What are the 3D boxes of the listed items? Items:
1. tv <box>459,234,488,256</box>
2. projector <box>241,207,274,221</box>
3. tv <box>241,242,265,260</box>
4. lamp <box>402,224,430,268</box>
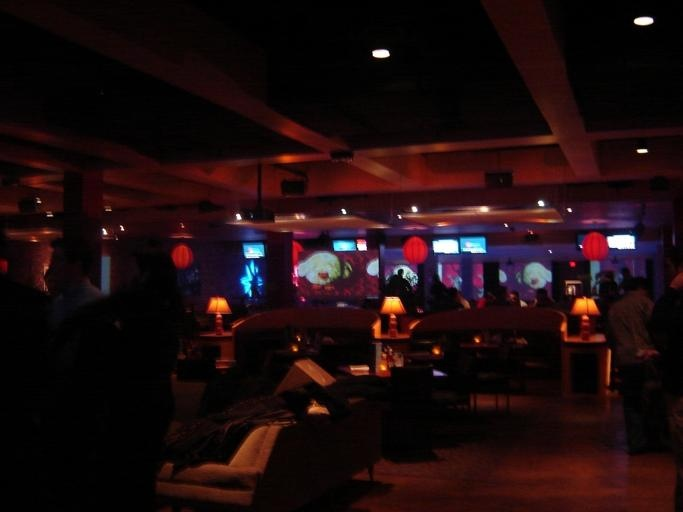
[{"bbox_3d":[3.626,-0.320,17.339,0.863,0.495,0.442,0,1,9],"label":"tv"},{"bbox_3d":[-1.335,-0.621,9.905,0.296,0.106,0.292,0,-3,26],"label":"projector"},{"bbox_3d":[-2.762,-0.177,19.957,0.779,0.563,0.438,6,8,35],"label":"tv"},{"bbox_3d":[1.405,-0.110,11.935,0.401,0.522,0.497,3,7,12],"label":"lamp"}]
